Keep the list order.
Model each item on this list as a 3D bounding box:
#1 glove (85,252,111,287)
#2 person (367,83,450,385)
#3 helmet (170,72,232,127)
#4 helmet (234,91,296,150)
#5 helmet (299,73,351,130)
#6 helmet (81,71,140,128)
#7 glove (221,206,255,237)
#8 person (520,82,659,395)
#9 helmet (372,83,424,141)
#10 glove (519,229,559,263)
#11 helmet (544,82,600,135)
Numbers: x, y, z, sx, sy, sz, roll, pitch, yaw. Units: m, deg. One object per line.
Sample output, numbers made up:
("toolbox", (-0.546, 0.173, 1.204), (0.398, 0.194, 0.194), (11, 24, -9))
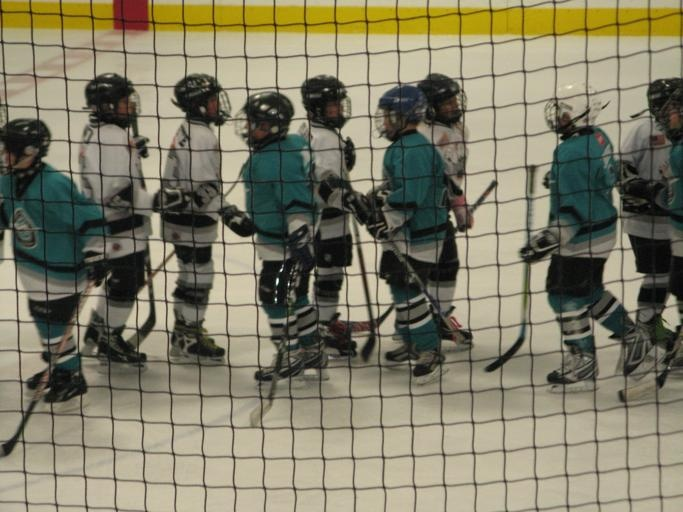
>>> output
("glove", (-1.915, 0.032, 9.718), (0.130, 0.284, 0.099), (-12, 31, 6))
("person", (0.529, -0.184, 9.862), (0.639, 2.150, 0.777), (-5, 1, 12))
("helmet", (-1.173, -1.281, 10.138), (0.543, 0.421, 0.369), (-15, 6, -19))
("helmet", (-0.617, -1.110, 9.948), (0.515, 0.411, 0.367), (-8, 3, -10))
("helmet", (-0.141, -1.274, 10.102), (0.477, 0.381, 0.334), (4, 10, -2))
("helmet", (-1.840, -1.253, 9.795), (0.534, 0.441, 0.374), (-5, 18, -12))
("glove", (-0.842, -0.294, 10.076), (0.322, 0.117, 0.213), (28, 20, -14))
("person", (1.920, -0.162, 9.756), (0.995, 2.050, 0.528), (-5, 1, -14))
("helmet", (0.438, -1.167, 9.781), (0.394, 0.402, 0.450), (-4, 1, 25))
("glove", (1.577, -0.092, 9.765), (0.422, 0.137, 0.217), (-18, 47, -31))
("helmet", (1.853, -1.200, 9.829), (0.537, 0.361, 0.365), (-9, 14, 8))
